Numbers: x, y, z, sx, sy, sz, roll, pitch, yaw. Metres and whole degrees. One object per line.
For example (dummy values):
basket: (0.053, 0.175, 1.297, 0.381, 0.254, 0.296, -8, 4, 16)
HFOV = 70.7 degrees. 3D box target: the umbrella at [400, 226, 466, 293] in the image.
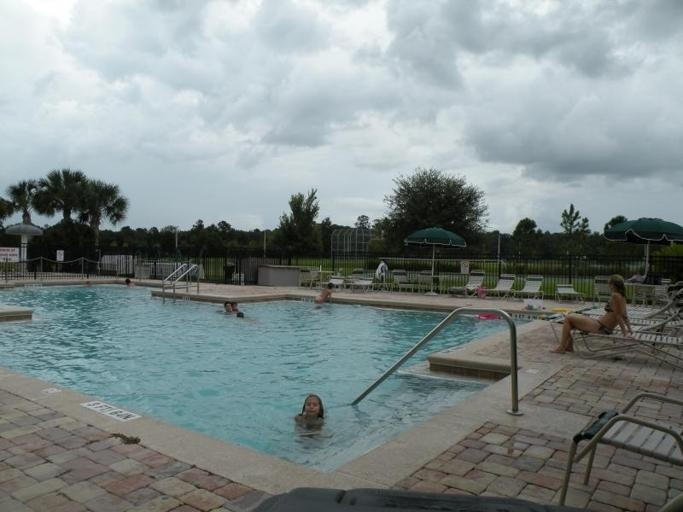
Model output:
umbrella: (4.115, 0.148, 20.764, 2.122, 2.804, 4.080, 0, 0, 14)

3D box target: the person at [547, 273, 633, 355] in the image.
person: (4.670, 1.090, 8.729, 0.481, 1.390, 1.655, 9, -9, -39)

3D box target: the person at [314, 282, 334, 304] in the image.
person: (-0.684, 1.393, 18.086, 0.611, 0.771, 0.537, 0, 1, -3)

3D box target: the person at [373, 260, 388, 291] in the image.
person: (1.800, 0.864, 21.759, 0.671, 1.253, 1.540, 0, 0, 5)
